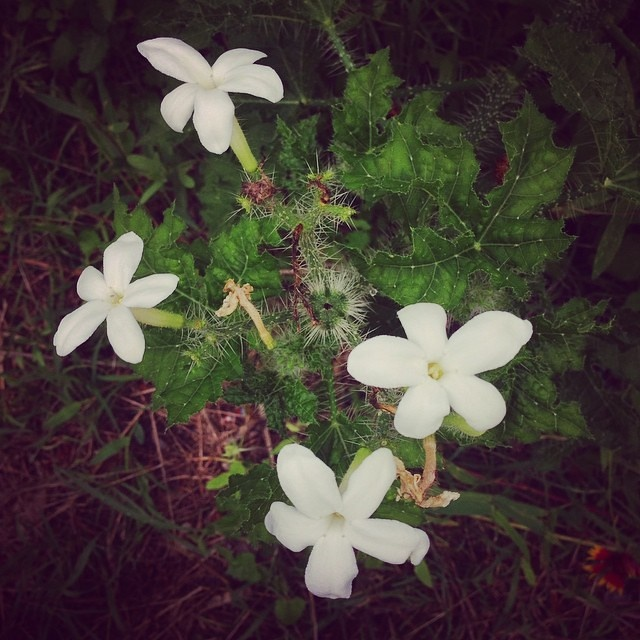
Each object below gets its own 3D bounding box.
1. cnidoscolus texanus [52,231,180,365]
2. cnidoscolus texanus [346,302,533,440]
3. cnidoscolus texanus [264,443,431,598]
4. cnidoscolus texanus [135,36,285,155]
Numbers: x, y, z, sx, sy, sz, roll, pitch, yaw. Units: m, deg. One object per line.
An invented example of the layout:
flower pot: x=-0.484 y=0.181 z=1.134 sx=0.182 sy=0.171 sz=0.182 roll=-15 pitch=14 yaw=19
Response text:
cnidoscolus texanus: x=-0.739 y=-0.055 z=2.707 sx=0.476 sy=0.426 sz=0.524 roll=3 pitch=70 yaw=5
cnidoscolus texanus: x=0.412 y=0.168 z=2.506 sx=0.148 sy=0.680 sz=0.528 roll=21 pitch=77 yaw=-36
cnidoscolus texanus: x=0.091 y=0.731 z=2.518 sx=0.638 sy=0.199 sz=0.523 roll=-3 pitch=100 yaw=23
cnidoscolus texanus: x=-0.411 y=-0.865 z=2.573 sx=0.536 sy=0.185 sz=0.431 roll=40 pitch=76 yaw=16
